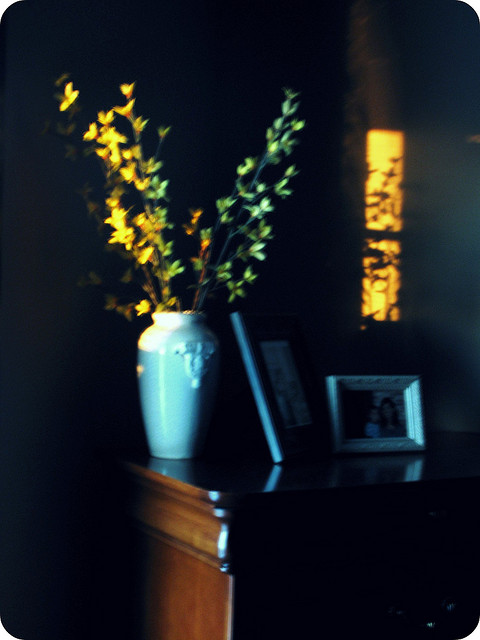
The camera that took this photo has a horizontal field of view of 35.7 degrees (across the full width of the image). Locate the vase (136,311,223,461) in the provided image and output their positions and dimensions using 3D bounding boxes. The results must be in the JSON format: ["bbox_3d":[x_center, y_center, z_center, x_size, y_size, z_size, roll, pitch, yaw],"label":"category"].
[{"bbox_3d":[-0.120,0.132,1.500,0.170,0.301,0.101,-3,4,-3],"label":"vase"}]
